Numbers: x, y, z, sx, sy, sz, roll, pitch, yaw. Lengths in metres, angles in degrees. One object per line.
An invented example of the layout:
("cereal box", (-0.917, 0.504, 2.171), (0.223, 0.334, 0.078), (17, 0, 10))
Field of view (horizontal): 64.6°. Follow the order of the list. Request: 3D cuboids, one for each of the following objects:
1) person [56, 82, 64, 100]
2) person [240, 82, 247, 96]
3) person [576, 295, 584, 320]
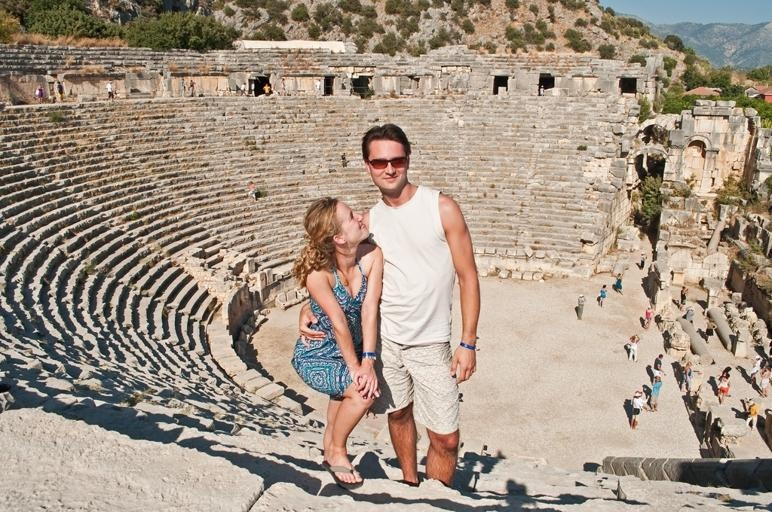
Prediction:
("person", (-14.946, -7.587, 28.047), (0.298, 0.764, 1.266), (-9, 20, -27))
("person", (-8.104, -9.551, 34.790), (0.354, 0.601, 1.384), (-3, 18, -13))
("person", (6.751, 1.715, 21.255), (0.289, 0.766, 0.941), (7, 19, 18))
